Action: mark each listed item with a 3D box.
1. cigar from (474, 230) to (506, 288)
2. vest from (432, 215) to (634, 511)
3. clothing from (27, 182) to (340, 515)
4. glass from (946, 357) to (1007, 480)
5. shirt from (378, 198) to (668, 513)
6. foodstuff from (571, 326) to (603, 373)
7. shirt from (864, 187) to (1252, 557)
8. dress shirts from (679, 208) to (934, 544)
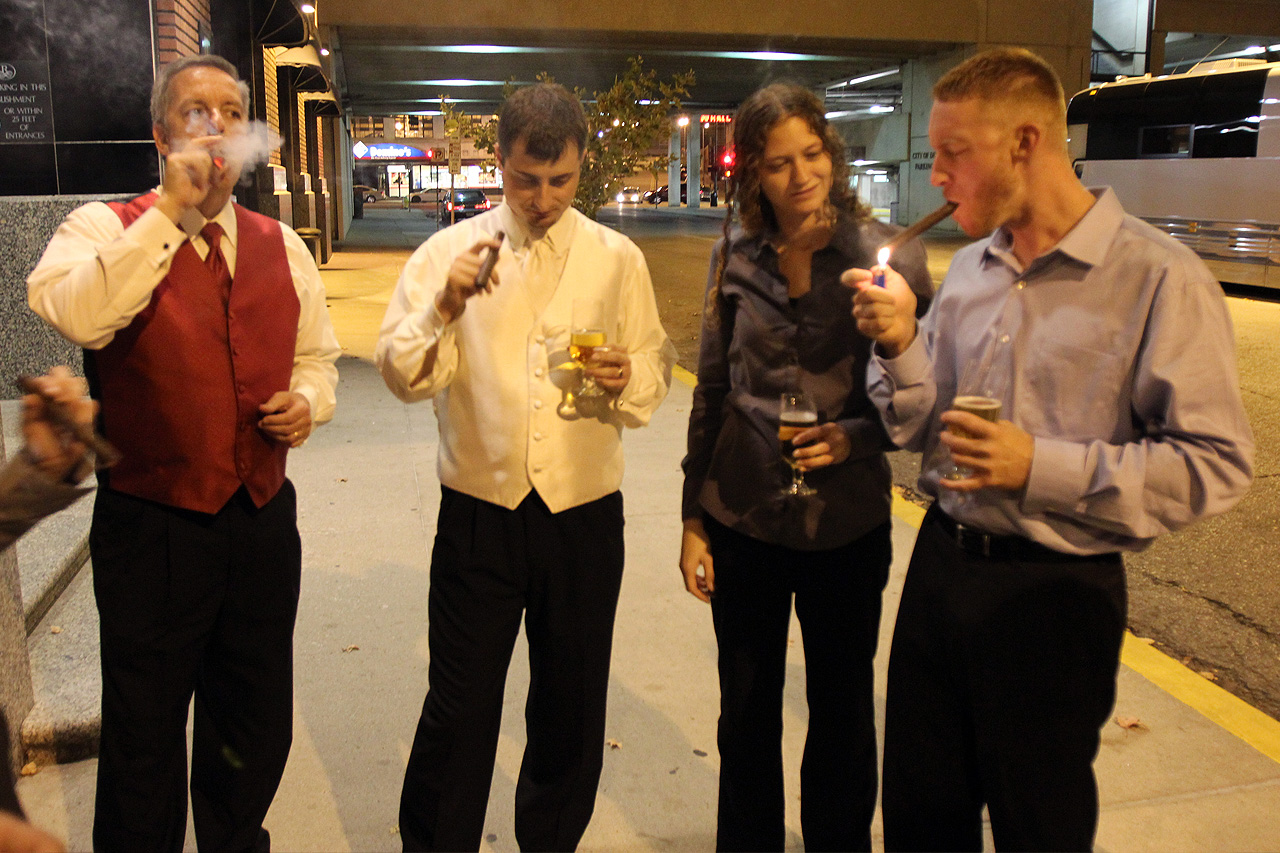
[{"bbox_3d":[-0.503,-0.597,2.906,0.053,0.247,0.063,14,-11,27],"label":"cigar"},{"bbox_3d":[-0.401,-0.269,3.279,0.840,1.098,0.621,6,23,-5],"label":"vest"},{"bbox_3d":[-1.553,-0.268,2.996,0.915,1.051,0.499,-13,21,-34],"label":"clothing"},{"bbox_3d":[1.011,-0.054,2.627,0.199,0.202,0.123,2,17,21],"label":"glass"},{"bbox_3d":[-0.426,-0.279,3.262,1.210,1.074,0.664,-2,18,-21],"label":"shirt"},{"bbox_3d":[-0.202,-0.295,3.124,0.123,0.138,0.132,2,9,8],"label":"foodstuff"},{"bbox_3d":[1.310,-0.198,2.842,0.764,1.112,1.314,-16,27,-30],"label":"shirt"},{"bbox_3d":[0.629,-0.170,3.323,0.972,1.258,0.708,7,12,28],"label":"dress shirts"}]
